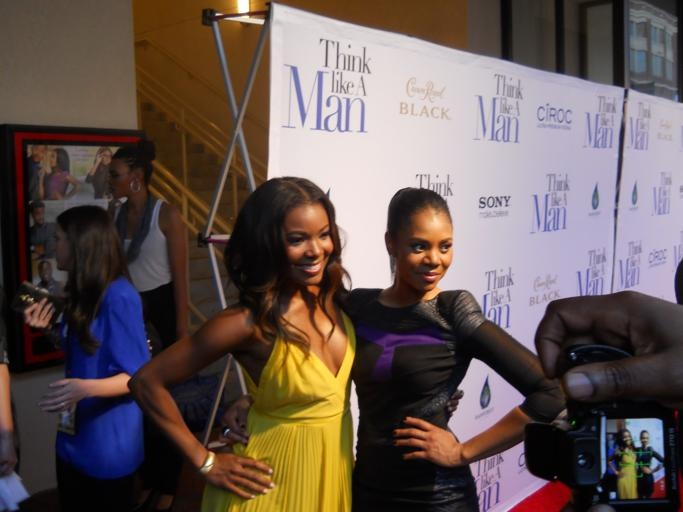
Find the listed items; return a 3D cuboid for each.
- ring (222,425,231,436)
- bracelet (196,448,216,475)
[{"bbox_3d":[-0.434,0.662,2.431,0.031,0.036,0.033,1,3,0],"label":"ring"},{"bbox_3d":[-0.489,0.741,2.331,0.025,0.078,0.063,14,1,8],"label":"bracelet"}]
